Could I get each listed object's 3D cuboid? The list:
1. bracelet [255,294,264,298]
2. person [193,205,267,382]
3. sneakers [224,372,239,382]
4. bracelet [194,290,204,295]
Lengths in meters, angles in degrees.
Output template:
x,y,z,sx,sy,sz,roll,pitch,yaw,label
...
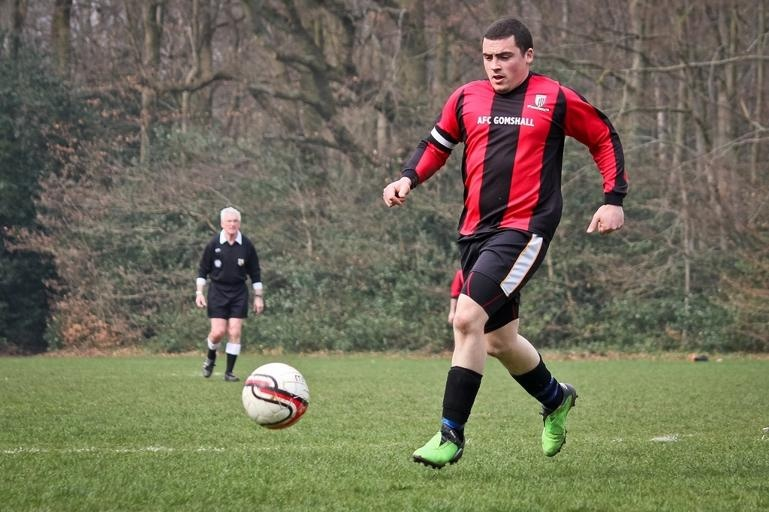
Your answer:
x,y,z,sx,sy,sz,roll,pitch,yaw,label
-2.360,0.768,24.823,0.133,0.053,0.115,-3,1,-10,bracelet
-2.929,0.718,24.673,1.193,3.218,0.687,2,-2,-8,person
-2.845,2.239,24.447,0.275,0.168,0.328,2,-3,-9,sneakers
-3.708,0.736,26.269,0.181,0.113,0.178,1,-4,-6,bracelet
